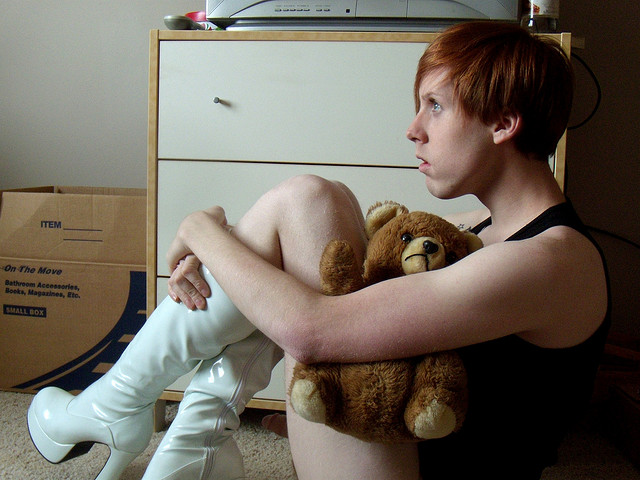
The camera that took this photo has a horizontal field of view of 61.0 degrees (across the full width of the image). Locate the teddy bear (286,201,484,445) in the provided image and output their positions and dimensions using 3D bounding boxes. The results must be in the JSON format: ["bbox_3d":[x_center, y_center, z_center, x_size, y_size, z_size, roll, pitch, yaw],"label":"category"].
[{"bbox_3d":[0.117,0.130,1.085,0.412,0.351,0.572,5,70,4],"label":"teddy bear"}]

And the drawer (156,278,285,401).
[{"bbox_3d":[-0.267,0.274,1.670,0.334,0.377,0.388,8,80,16],"label":"drawer"}]
